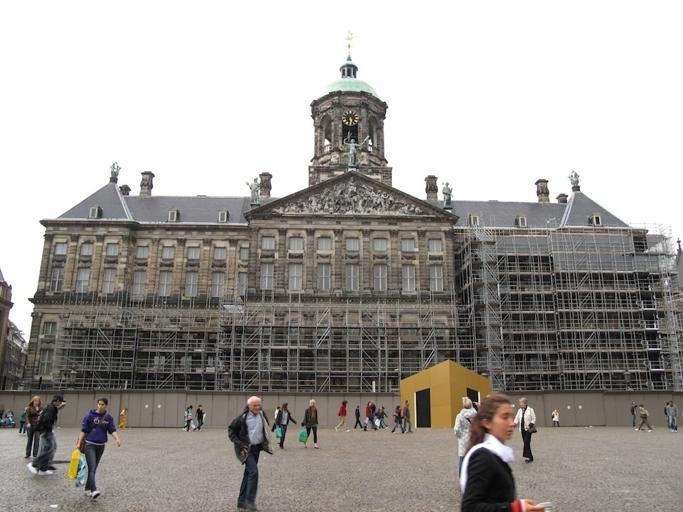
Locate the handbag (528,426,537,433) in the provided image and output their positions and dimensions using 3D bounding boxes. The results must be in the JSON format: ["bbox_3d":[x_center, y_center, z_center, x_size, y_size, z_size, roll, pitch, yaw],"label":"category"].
[{"bbox_3d":[5.987,5.421,18.688,0.274,0.120,0.321,-3,-22,-1],"label":"handbag"}]

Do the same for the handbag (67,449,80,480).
[{"bbox_3d":[-5.869,4.576,13.204,0.203,0.611,0.503,5,-15,-22],"label":"handbag"}]

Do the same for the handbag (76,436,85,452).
[{"bbox_3d":[-5.885,4.280,13.591,0.204,0.385,0.282,-2,-12,-8],"label":"handbag"}]

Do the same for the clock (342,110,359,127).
[{"bbox_3d":[1.029,-14.547,62.330,1.419,1.456,0.194,14,14,0],"label":"clock"}]

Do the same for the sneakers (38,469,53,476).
[{"bbox_3d":[-8.059,5.902,16.304,0.351,0.155,0.121,5,6,-18],"label":"sneakers"}]
